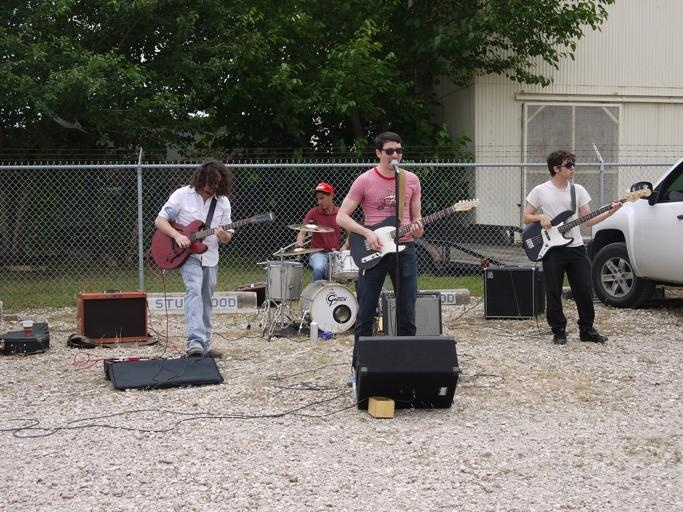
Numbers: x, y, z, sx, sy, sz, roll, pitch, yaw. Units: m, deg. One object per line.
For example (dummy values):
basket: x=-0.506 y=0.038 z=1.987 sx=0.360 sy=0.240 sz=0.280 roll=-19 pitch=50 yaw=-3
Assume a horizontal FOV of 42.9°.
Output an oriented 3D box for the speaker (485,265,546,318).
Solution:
speaker: x=2.363 y=0.485 z=11.960 sx=0.717 sy=0.761 sz=0.724 roll=0 pitch=-2 yaw=5

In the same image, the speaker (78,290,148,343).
speaker: x=-2.825 y=0.745 z=10.872 sx=1.034 sy=0.916 sz=0.561 roll=0 pitch=-3 yaw=-15

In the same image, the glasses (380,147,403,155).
glasses: x=0.528 y=-1.030 z=8.541 sx=0.229 sy=0.079 sz=0.124 roll=-12 pitch=18 yaw=-43

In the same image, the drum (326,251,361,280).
drum: x=0.001 y=0.120 z=10.816 sx=0.348 sy=0.245 sz=0.363 roll=0 pitch=-9 yaw=0

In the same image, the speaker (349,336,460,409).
speaker: x=0.621 y=1.081 z=8.143 sx=0.875 sy=0.611 sz=0.661 roll=0 pitch=23 yaw=-3

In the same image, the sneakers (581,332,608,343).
sneakers: x=3.079 y=0.991 z=10.568 sx=0.308 sy=0.137 sz=0.126 roll=-2 pitch=-1 yaw=21

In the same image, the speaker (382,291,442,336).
speaker: x=0.861 y=0.705 z=10.609 sx=0.835 sy=0.747 sz=0.487 roll=0 pitch=-4 yaw=-7

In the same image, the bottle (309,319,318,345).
bottle: x=-0.352 y=0.948 z=10.952 sx=0.110 sy=0.206 sz=0.324 roll=0 pitch=13 yaw=-1

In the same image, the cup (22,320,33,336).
cup: x=-3.773 y=0.861 z=10.412 sx=0.157 sy=0.174 sz=0.161 roll=-1 pitch=-3 yaw=0

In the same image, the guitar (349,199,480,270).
guitar: x=0.665 y=-0.161 z=8.811 sx=1.163 sy=0.578 sz=0.446 roll=-5 pitch=14 yaw=-22

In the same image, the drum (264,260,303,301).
drum: x=-0.731 y=0.307 z=10.900 sx=0.461 sy=0.483 sz=0.483 roll=0 pitch=4 yaw=-2
